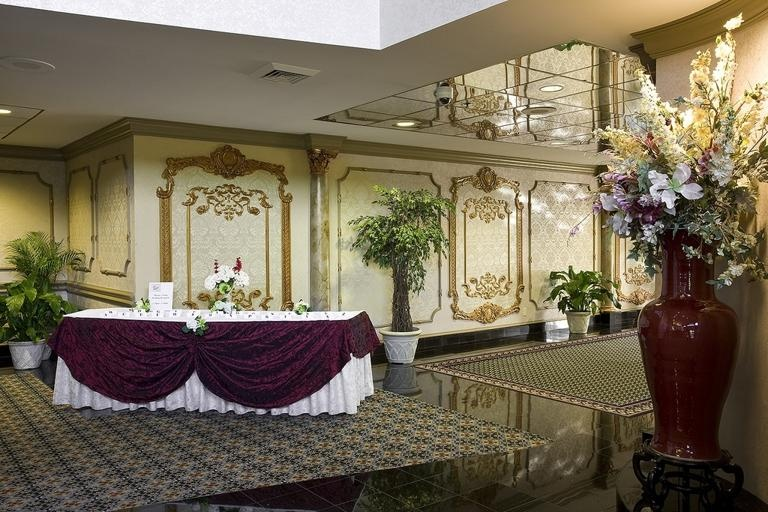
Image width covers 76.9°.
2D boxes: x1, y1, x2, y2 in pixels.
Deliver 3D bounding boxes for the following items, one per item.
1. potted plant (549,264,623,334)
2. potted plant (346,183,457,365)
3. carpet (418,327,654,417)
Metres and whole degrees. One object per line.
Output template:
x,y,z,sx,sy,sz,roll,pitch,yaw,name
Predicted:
4.318,1.046,10.745,1.560,1.241,1.322,0,-2,-25,potted plant
0.289,0.266,8.265,1.616,2.991,1.735,0,3,6,potted plant
1.518,2.387,9.062,3.446,0.033,5.720,-18,-9,-33,carpet
